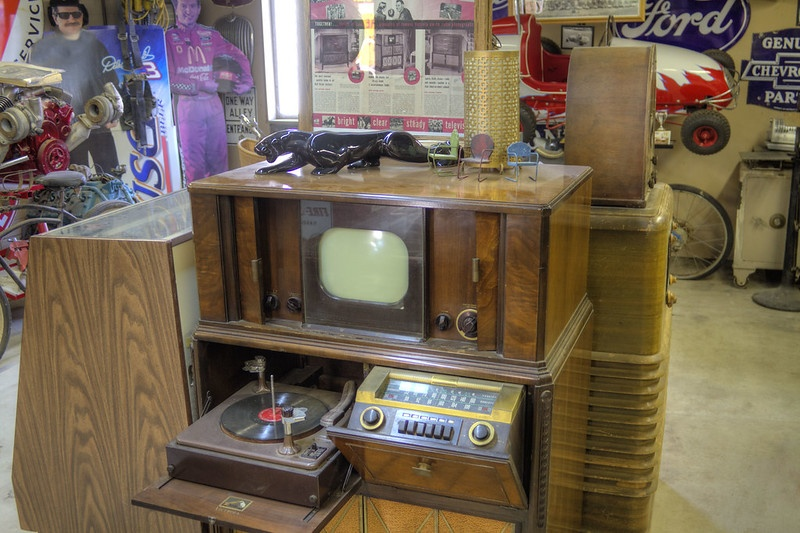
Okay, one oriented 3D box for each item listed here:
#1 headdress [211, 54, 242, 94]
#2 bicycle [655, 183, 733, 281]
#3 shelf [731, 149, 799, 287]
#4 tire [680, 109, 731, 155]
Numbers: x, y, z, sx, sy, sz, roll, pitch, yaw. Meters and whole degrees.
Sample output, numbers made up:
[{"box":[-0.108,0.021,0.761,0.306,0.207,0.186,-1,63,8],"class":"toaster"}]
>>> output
[{"box":[-1.920,-2.186,7.056,0.298,0.404,0.323,5,25,5],"class":"headdress"},{"box":[3.040,-0.374,6.292,0.608,0.974,0.640,5,19,21],"class":"bicycle"},{"box":[3.460,-0.418,5.962,0.449,1.234,0.334,7,20,27],"class":"shelf"},{"box":[2.963,-1.332,6.034,0.443,0.440,0.202,-3,36,11],"class":"tire"}]
